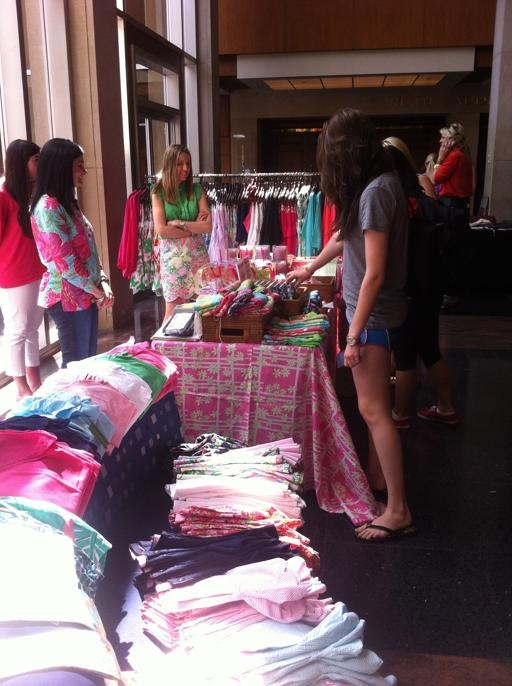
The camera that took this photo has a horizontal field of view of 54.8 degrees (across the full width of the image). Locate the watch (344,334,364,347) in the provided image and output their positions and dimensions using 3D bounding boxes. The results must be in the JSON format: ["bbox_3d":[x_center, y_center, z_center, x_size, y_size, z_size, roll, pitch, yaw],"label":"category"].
[{"bbox_3d":[0.385,-0.007,1.942,0.064,0.046,0.071,-7,-3,-10],"label":"watch"}]

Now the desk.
[{"bbox_3d":[0.076,0.294,2.382,1.022,0.762,0.794,2,21,16],"label":"desk"}]

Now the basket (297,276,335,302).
[{"bbox_3d":[0.441,-0.403,3.481,0.204,0.135,0.203,-9,14,-35],"label":"basket"}]

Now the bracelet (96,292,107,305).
[{"bbox_3d":[-0.873,-0.253,2.809,0.050,0.059,0.060,1,29,-4],"label":"bracelet"}]

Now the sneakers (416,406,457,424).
[{"bbox_3d":[1.217,0.453,3.295,0.218,0.093,0.099,12,9,37],"label":"sneakers"}]

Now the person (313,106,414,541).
[{"bbox_3d":[0.460,-0.038,2.020,0.455,1.706,0.294,2,13,8],"label":"person"}]

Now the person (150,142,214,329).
[{"bbox_3d":[-0.589,-0.876,3.911,0.440,1.279,0.342,-3,13,-13],"label":"person"}]

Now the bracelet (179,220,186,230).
[{"bbox_3d":[-0.560,-0.901,3.783,0.031,0.059,0.042,4,7,0],"label":"bracelet"}]

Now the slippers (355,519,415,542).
[{"bbox_3d":[0.555,0.775,2.096,0.178,0.046,0.092,-1,4,-9],"label":"slippers"}]

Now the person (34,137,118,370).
[{"bbox_3d":[-1.019,-0.469,2.757,0.391,1.247,0.309,-6,14,-27],"label":"person"}]

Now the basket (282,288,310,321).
[{"bbox_3d":[0.228,-0.223,2.827,0.138,0.116,0.268,2,22,10],"label":"basket"}]
